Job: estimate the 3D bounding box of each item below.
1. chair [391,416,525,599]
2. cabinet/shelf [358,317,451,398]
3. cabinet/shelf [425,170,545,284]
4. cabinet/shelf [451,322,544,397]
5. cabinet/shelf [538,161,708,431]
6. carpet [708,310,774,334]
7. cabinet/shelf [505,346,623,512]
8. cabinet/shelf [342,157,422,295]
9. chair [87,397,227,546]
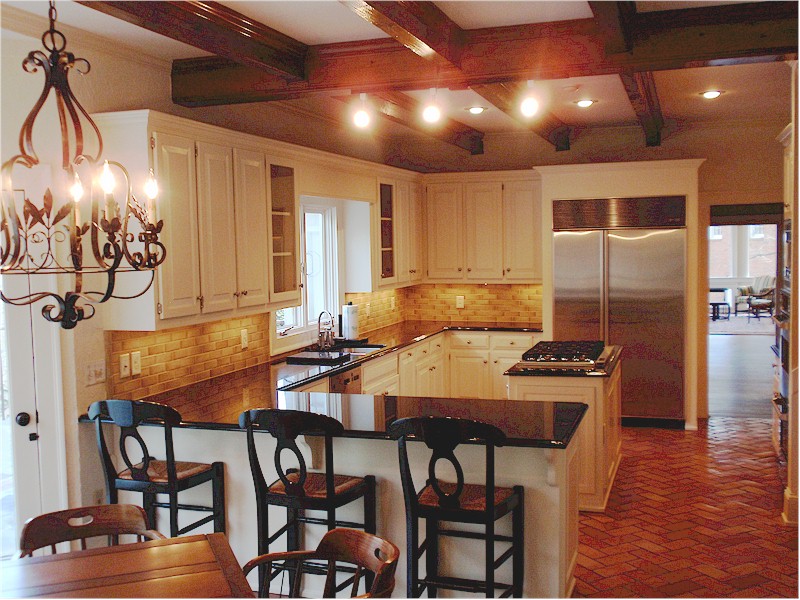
[{"bbox_3d":[0.338,1.129,3.415,0.661,1.152,0.483,-1,8,12],"label":"chair"},{"bbox_3d":[0.304,1.000,8.137,0.931,0.859,3.714,-17,-11,0],"label":"cabinet/shelf"},{"bbox_3d":[1.115,-0.920,7.691,1.684,1.326,0.620,0,0,18],"label":"cabinet/shelf"},{"bbox_3d":[1.076,0.651,6.877,1.057,0.840,0.423,0,-2,21],"label":"cabinet/shelf"},{"bbox_3d":[2.437,0.022,7.414,1.783,2.567,0.468,6,-14,-9],"label":"cabinet/shelf"},{"bbox_3d":[8.605,0.579,15.838,1.335,0.234,4.254,1,7,29],"label":"carpet"},{"bbox_3d":[1.151,0.891,4.365,0.751,1.029,1.342,-1,3,16],"label":"cabinet/shelf"},{"bbox_3d":[-0.196,-0.778,7.321,0.434,1.264,1.488,3,8,30],"label":"cabinet/shelf"},{"bbox_3d":[-1.420,1.074,3.785,0.659,0.867,0.601,-4,-10,19],"label":"chair"}]
